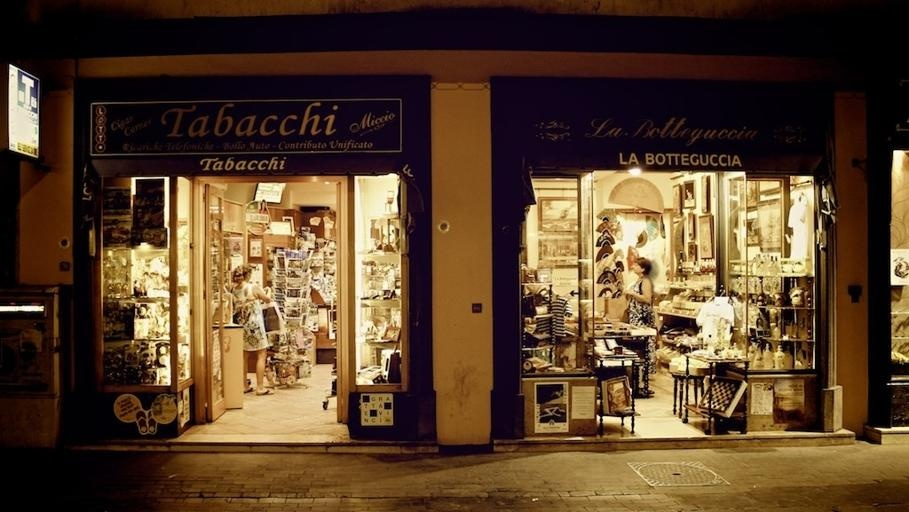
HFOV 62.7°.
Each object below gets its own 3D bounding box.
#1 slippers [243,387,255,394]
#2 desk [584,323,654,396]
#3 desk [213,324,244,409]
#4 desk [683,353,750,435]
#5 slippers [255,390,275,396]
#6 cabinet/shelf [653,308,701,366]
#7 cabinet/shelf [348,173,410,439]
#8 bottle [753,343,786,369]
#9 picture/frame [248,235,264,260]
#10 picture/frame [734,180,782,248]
[{"bbox_3d":[-3.827,2.555,14.030,0.071,0.048,0.205,4,7,40],"label":"slippers"},{"bbox_3d":[3.067,1.994,13.568,1.580,0.945,1.477,0,-2,-4],"label":"desk"},{"bbox_3d":[-3.940,1.978,13.079,0.192,1.490,0.613,-4,-8,40],"label":"desk"},{"bbox_3d":[4.405,2.379,12.597,1.063,0.872,0.786,0,2,-17],"label":"desk"},{"bbox_3d":[-3.498,2.568,13.867,0.340,0.124,0.106,-4,1,-19],"label":"slippers"},{"bbox_3d":[4.713,1.714,15.394,0.507,1.364,1.523,-9,-10,3],"label":"cabinet/shelf"},{"bbox_3d":[-1.167,0.789,12.270,1.104,4.145,1.120,-1,2,3],"label":"cabinet/shelf"},{"bbox_3d":[5.295,1.728,12.567,0.445,0.355,0.149,1,-14,2],"label":"bottle"},{"bbox_3d":[-4.163,-0.172,15.799,0.306,0.464,0.132,3,-6,-16],"label":"picture/frame"},{"bbox_3d":[5.450,-0.713,13.141,0.695,1.232,0.330,-3,-8,38],"label":"picture/frame"}]
